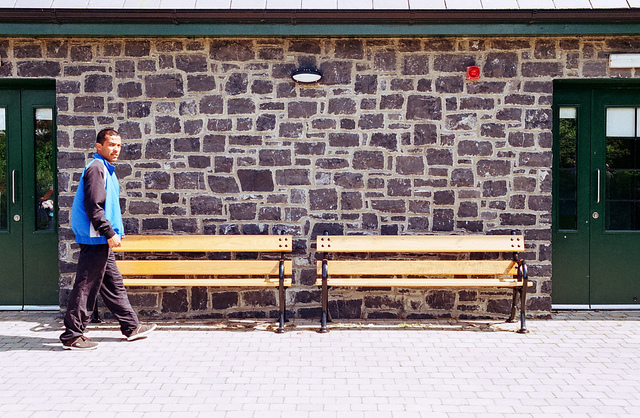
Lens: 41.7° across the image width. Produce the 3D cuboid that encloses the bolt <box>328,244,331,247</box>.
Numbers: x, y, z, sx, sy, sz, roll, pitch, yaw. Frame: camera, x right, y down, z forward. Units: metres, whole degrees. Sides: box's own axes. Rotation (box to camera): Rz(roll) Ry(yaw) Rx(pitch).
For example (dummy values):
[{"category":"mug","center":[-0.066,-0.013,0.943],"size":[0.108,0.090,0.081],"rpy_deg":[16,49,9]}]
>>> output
[{"category":"bolt","center":[0.112,0.457,10.550],"size":[0.047,0.035,0.010],"rpy_deg":[1,-4,-2]}]

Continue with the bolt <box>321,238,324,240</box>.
[{"category":"bolt","center":[0.029,0.372,10.560],"size":[0.053,0.030,0.012],"rpy_deg":[1,-2,-6]}]

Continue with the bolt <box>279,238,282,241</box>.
[{"category":"bolt","center":[-0.497,0.379,10.592],"size":[0.033,0.030,0.016],"rpy_deg":[-1,6,-9]}]

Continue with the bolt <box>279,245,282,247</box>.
[{"category":"bolt","center":[-0.501,0.461,10.571],"size":[0.030,0.024,0.006],"rpy_deg":[-1,-10,-4]}]

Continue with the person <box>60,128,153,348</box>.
[{"category":"person","center":[-2.671,0.317,10.171],"size":[0.981,2.561,0.983],"rpy_deg":[-2,6,-16]}]

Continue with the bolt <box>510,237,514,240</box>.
[{"category":"bolt","center":[2.408,0.371,10.583],"size":[0.039,0.023,0.008],"rpy_deg":[-5,-19,24]}]

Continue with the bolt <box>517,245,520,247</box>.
[{"category":"bolt","center":[2.491,0.460,10.556],"size":[0.036,0.029,0.008],"rpy_deg":[1,-5,3]}]

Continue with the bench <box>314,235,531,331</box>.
[{"category":"bench","center":[1.252,0.915,10.521],"size":[2.645,0.941,0.771],"rpy_deg":[0,15,8]}]
